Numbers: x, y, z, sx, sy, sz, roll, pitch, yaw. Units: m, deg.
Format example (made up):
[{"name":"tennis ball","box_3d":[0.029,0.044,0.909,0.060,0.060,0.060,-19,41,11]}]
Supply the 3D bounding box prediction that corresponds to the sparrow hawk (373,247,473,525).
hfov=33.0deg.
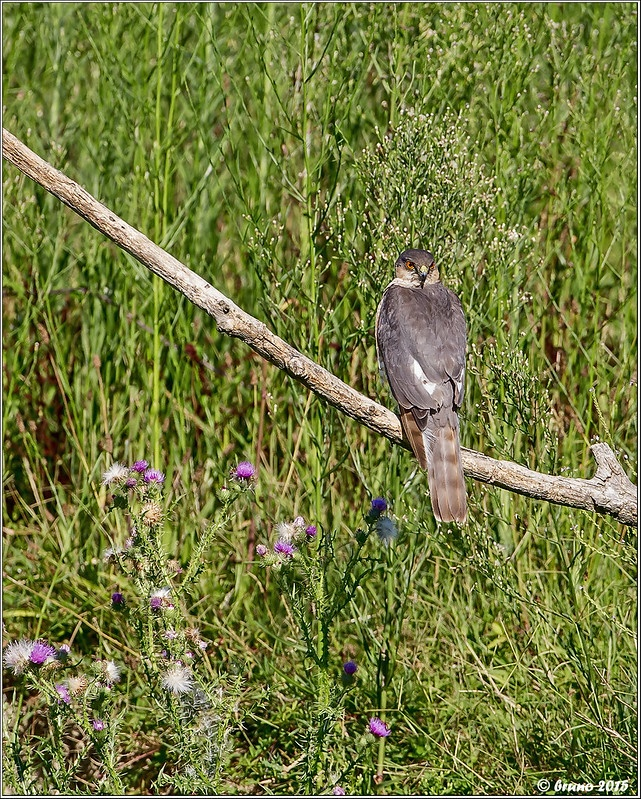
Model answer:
[{"name":"sparrow hawk","box_3d":[0.424,-0.129,4.229,0.287,1.172,0.398,-5,9,-8]}]

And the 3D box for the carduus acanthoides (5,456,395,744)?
[{"name":"carduus acanthoides","box_3d":[-0.400,0.724,3.585,1.005,1.038,0.617,-3,81,-33]}]
